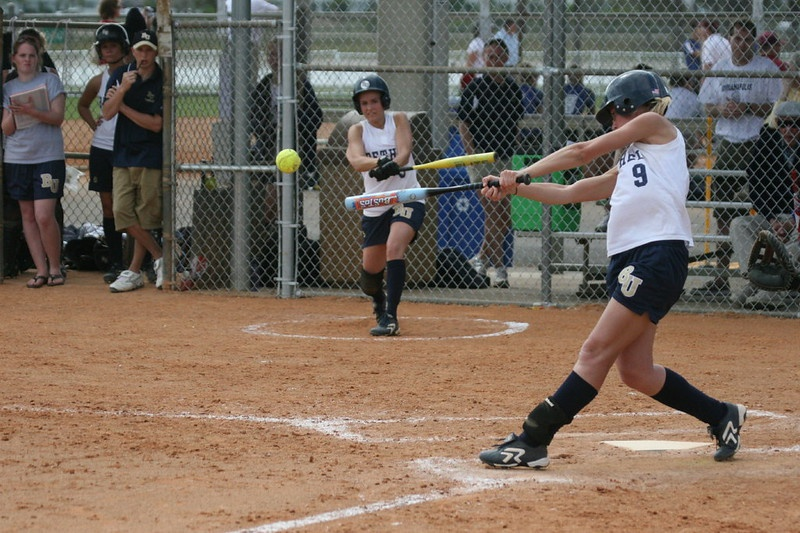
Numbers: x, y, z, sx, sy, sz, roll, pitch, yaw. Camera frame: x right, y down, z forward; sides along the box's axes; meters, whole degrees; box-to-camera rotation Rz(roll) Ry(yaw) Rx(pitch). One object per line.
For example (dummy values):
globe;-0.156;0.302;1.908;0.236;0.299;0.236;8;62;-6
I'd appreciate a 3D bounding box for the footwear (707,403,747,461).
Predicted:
footwear;2.096;1.044;7.188;0.224;0.414;0.150;5;-8;-6

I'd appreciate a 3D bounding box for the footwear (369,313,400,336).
footwear;-0.116;0.524;10.079;0.275;0.146;0.143;-1;-1;-30

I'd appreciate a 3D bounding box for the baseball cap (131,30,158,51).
baseball cap;-2.629;-2.348;11.676;0.266;0.207;0.183;-2;4;-19

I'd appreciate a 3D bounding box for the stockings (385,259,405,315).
stockings;-0.039;0.189;10.067;0.158;0.522;0.213;-1;3;-2

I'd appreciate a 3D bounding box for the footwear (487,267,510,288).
footwear;1.127;0.128;12.586;0.275;0.327;0.196;-2;-1;10

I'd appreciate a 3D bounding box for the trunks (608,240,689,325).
trunks;1.525;0.077;6.993;0.286;0.339;0.450;34;-34;-18

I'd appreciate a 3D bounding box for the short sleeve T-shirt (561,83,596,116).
short sleeve T-shirt;2.089;-1.982;13.430;0.542;0.446;0.200;10;18;30

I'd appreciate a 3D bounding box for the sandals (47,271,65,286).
sandals;-3.738;0.129;12.221;0.165;0.096;0.423;-6;3;-15

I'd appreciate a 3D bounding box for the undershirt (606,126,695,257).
undershirt;1.574;-0.461;7.101;0.500;0.789;0.297;0;3;13

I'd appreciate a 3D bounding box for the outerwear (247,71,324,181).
outerwear;-1.181;-1.458;12.044;0.742;1.208;0.657;2;4;34

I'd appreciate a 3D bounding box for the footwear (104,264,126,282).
footwear;-3.183;0.074;12.552;0.122;0.147;0.322;13;19;19

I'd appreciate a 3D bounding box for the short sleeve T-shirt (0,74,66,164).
short sleeve T-shirt;-3.863;-1.573;11.898;0.609;0.964;0.463;-2;3;-19

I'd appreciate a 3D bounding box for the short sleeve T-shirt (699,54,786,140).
short sleeve T-shirt;3.553;-1.737;11.612;0.940;0.933;0.357;11;-5;26

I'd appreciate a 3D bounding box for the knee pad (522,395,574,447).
knee pad;0.914;0.974;7.024;0.321;0.306;0.080;0;3;5

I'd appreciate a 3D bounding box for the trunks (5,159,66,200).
trunks;-3.876;-0.907;12.055;0.739;0.489;0.406;-1;-4;2

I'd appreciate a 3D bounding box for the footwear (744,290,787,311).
footwear;3.664;0.344;11.289;0.234;0.114;0.275;-1;3;-10

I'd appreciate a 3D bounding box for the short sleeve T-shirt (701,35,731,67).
short sleeve T-shirt;3.460;-2.343;12.312;0.419;0.366;0.218;7;23;7
